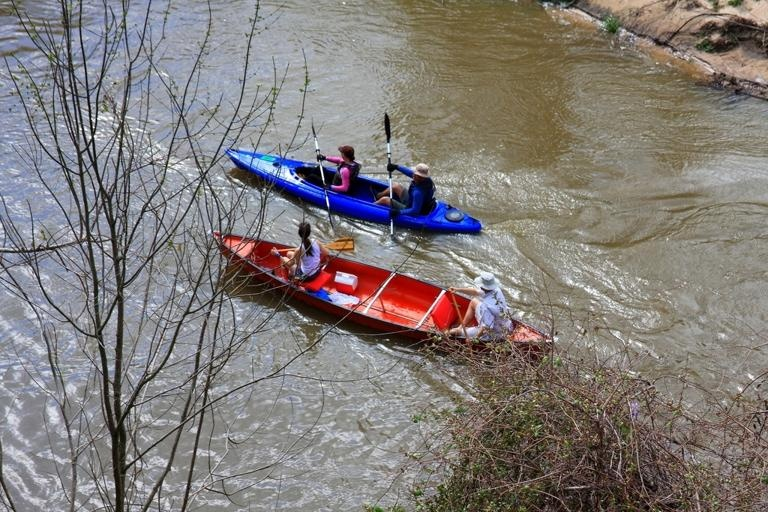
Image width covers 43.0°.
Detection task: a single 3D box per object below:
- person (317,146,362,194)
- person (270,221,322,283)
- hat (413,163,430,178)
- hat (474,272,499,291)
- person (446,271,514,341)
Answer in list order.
[{"bbox_3d":[-1.113,-2.087,24.225,0.804,1.162,0.591,18,58,-4],"label":"person"},{"bbox_3d":[-2.019,-0.032,22.170,0.641,1.315,0.758,-35,61,-22],"label":"person"},{"bbox_3d":[0.930,-1.997,23.001,0.402,0.184,0.367,10,46,-8],"label":"hat"},{"bbox_3d":[2.221,0.545,20.765,0.478,0.385,0.324,20,38,9],"label":"hat"},{"bbox_3d":[2.067,1.128,21.051,1.604,1.540,1.101,11,23,24],"label":"person"}]
